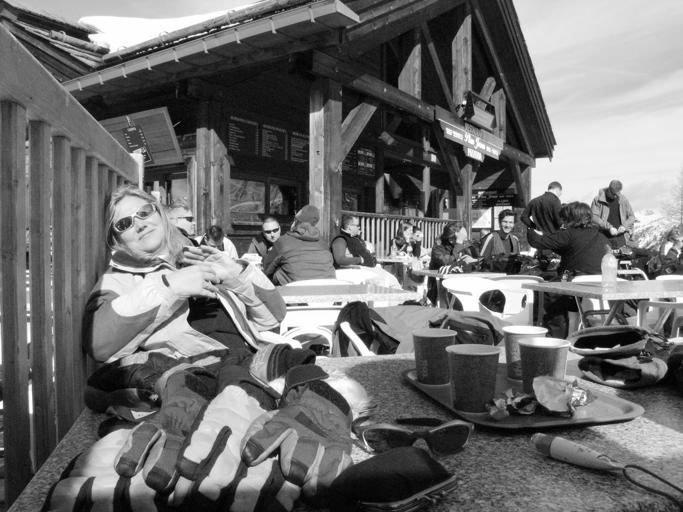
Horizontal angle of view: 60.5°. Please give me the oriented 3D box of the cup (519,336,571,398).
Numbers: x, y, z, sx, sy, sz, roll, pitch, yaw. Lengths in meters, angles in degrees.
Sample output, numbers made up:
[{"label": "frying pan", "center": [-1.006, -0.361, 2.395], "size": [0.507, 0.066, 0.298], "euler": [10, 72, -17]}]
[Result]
[{"label": "cup", "center": [0.552, 0.303, 1.613], "size": [0.134, 0.127, 0.148], "euler": [0, 0, -3]}]

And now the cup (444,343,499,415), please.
[{"label": "cup", "center": [0.350, 0.324, 1.548], "size": [0.154, 0.172, 0.157], "euler": [-1, 0, 0]}]

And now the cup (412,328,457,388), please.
[{"label": "cup", "center": [0.268, 0.307, 1.751], "size": [0.141, 0.162, 0.152], "euler": [0, -3, 0]}]

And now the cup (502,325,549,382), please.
[{"label": "cup", "center": [0.537, 0.287, 1.777], "size": [0.141, 0.156, 0.153], "euler": [0, 3, 0]}]

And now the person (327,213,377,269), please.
[{"label": "person", "center": [0.127, -0.433, 7.916], "size": [0.572, 0.981, 1.137], "euler": [-9, 12, 6]}]

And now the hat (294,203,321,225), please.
[{"label": "hat", "center": [-0.382, -0.461, 6.643], "size": [0.196, 0.284, 0.271], "euler": [1, 24, -43]}]
